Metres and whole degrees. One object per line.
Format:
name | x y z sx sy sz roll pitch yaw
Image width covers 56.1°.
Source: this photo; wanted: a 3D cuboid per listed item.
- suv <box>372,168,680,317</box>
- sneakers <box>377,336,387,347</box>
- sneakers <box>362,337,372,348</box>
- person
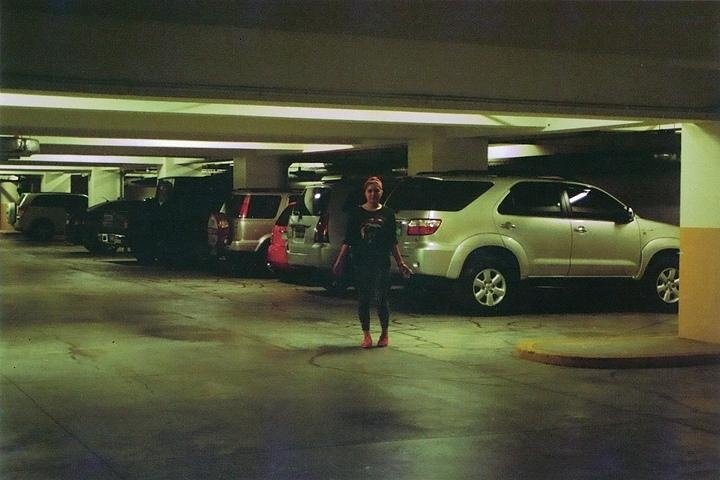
suv | 3.528 -0.125 14.486 5.837 2.423 2.728 -2 3 -18
sneakers | 0.342 1.578 10.505 0.184 0.175 0.103 4 -4 -10
sneakers | 0.103 1.539 10.485 0.166 0.203 0.326 0 4 -1
person | 0.158 0.338 10.565 1.043 2.593 0.540 0 3 -4
